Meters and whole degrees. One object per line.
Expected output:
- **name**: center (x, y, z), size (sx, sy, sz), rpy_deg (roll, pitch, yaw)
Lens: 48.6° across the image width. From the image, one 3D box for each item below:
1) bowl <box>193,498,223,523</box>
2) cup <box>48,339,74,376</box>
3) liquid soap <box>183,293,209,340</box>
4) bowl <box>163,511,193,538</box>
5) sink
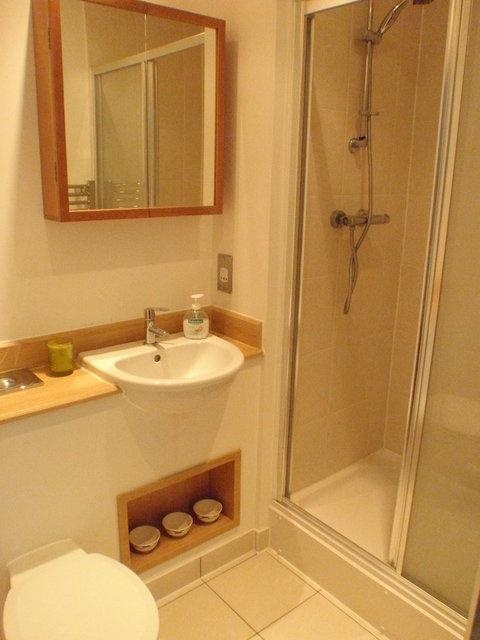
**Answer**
- **bowl**: center (-0.121, 0.721, 1.999), size (0.112, 0.050, 0.121), rpy_deg (1, 11, 0)
- **cup**: center (-0.543, 0.118, 1.656), size (0.080, 0.107, 0.100), rpy_deg (2, 16, 3)
- **liquid soap**: center (-0.166, -0.011, 1.944), size (0.098, 0.176, 0.099), rpy_deg (22, 29, 34)
- **bowl**: center (-0.227, 0.733, 1.902), size (0.107, 0.048, 0.132), rpy_deg (2, 11, 4)
- **sink**: center (-0.217, 0.192, 1.700), size (0.483, 0.178, 0.440), rpy_deg (-6, 13, -33)
